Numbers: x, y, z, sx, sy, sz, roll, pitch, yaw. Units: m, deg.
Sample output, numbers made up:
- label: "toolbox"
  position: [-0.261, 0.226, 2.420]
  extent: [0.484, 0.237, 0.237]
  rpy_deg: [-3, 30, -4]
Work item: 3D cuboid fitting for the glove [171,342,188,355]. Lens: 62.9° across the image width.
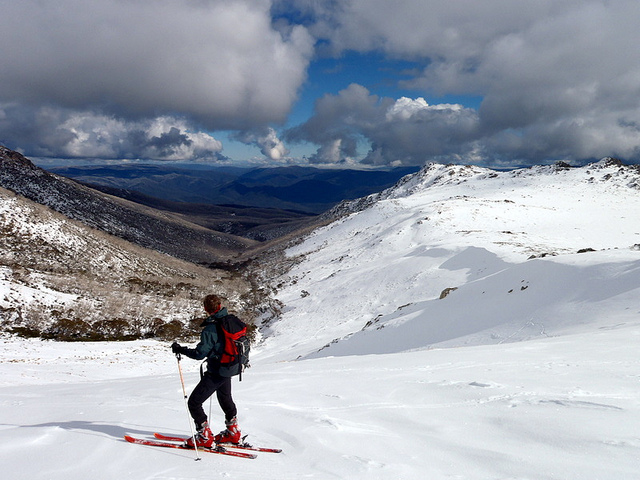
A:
- label: "glove"
  position: [-4.468, 3.453, 16.743]
  extent: [0.617, 0.315, 0.290]
  rpy_deg: [13, 5, 17]
